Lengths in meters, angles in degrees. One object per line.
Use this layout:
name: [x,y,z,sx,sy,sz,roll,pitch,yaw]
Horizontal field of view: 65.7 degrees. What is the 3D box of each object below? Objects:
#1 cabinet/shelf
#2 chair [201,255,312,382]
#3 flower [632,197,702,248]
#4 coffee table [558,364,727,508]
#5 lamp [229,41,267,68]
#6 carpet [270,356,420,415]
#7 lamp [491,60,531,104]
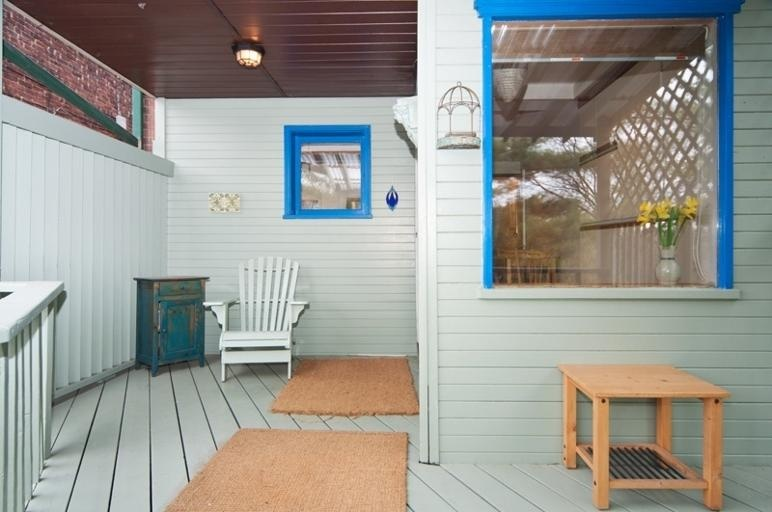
cabinet/shelf: [-2.186,0.708,6.119,0.690,0.975,0.315,0,-2,-22]
chair: [-1.330,0.627,6.322,0.995,1.088,1.300,1,3,-8]
flower: [2.174,-0.232,4.613,0.419,0.323,0.335,1,-4,-6]
coffee table: [1.887,1.251,4.530,1.046,0.838,1.015,0,0,3]
lamp: [-1.331,-1.976,5.867,0.250,0.112,0.243,-1,-4,3]
carpet: [-0.345,1.267,5.998,1.287,0.047,2.057,1,2,1]
lamp: [0.950,-1.322,4.551,0.288,0.240,0.305,-1,3,-2]
